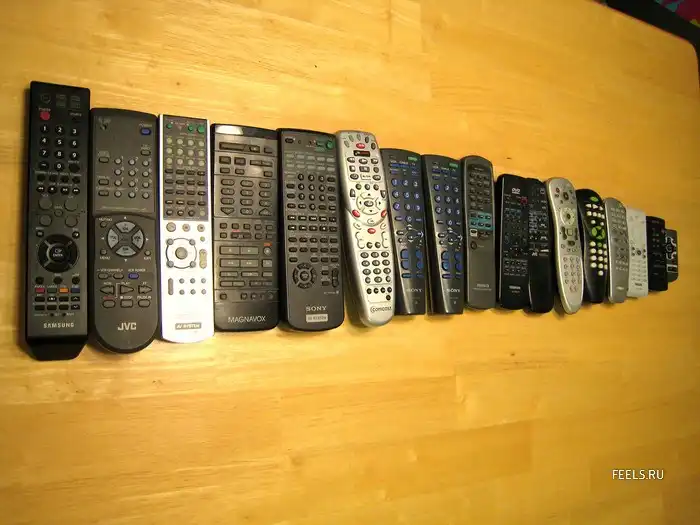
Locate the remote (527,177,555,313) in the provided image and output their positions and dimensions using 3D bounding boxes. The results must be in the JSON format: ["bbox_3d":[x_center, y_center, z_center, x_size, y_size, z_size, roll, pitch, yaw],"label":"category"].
[{"bbox_3d":[0.355,-0.034,1.052,0.081,0.254,0.024,1,-5,-38],"label":"remote"}]

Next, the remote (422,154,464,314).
[{"bbox_3d":[0.164,-0.050,0.957,0.071,0.274,0.028,0,-5,-20],"label":"remote"}]

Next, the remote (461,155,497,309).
[{"bbox_3d":[0.226,-0.055,0.992,0.079,0.273,0.026,1,-5,-32],"label":"remote"}]

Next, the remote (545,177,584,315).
[{"bbox_3d":[0.391,-0.032,1.102,0.078,0.258,0.037,-1,-14,-30],"label":"remote"}]

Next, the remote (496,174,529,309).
[{"bbox_3d":[0.291,-0.037,1.026,0.077,0.237,0.034,5,-7,-15],"label":"remote"}]

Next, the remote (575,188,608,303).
[{"bbox_3d":[0.481,-0.030,1.107,0.072,0.215,0.054,-2,-5,-32],"label":"remote"}]
